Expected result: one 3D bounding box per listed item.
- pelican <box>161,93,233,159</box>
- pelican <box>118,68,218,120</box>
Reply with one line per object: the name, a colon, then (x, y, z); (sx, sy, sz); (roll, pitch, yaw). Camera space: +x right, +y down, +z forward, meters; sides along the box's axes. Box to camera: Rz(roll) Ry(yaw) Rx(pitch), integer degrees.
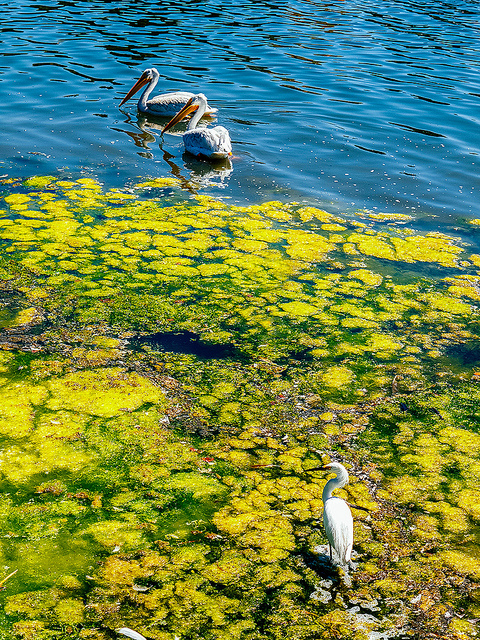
pelican: (-0.709, -3.556, 16.785); (1.797, 1.130, 0.682); (18, 27, 40)
pelican: (-1.624, -4.423, 18.522); (2.220, 1.140, 1.774); (-9, 30, -19)
